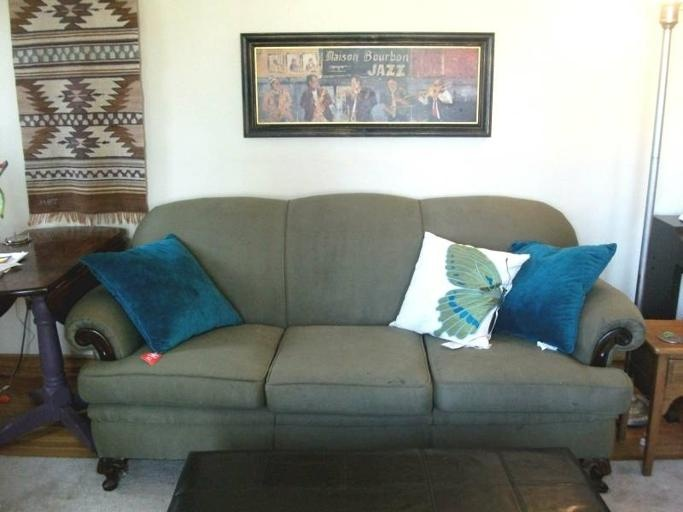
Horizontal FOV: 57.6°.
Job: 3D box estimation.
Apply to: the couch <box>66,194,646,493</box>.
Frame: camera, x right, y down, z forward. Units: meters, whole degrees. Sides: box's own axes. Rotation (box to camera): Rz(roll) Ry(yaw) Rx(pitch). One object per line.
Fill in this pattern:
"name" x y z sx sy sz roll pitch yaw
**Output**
"couch" 0.058 0.377 3.104 2.599 1.069 0.861 0 28 3
